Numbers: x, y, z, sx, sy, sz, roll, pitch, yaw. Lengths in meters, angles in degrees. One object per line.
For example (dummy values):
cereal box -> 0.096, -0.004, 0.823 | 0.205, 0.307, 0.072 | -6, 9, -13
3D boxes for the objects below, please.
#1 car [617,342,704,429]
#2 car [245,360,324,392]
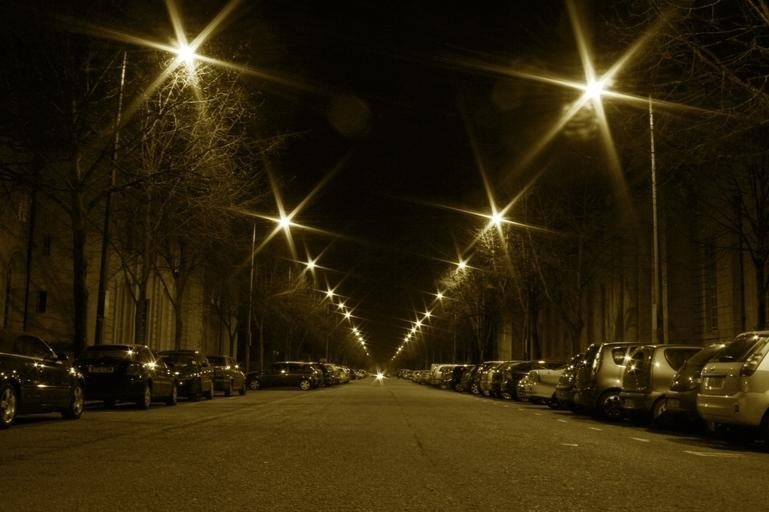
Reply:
car -> 8.252, 3.579, 22.113 | 2.578, 1.514, 1.582 | -1, -8, 0
car -> -6.308, 7.845, 49.472 | 3.328, 1.525, 2.069 | 6, -15, 1
